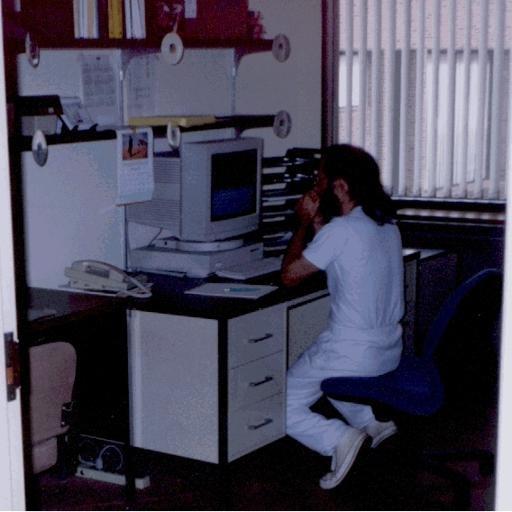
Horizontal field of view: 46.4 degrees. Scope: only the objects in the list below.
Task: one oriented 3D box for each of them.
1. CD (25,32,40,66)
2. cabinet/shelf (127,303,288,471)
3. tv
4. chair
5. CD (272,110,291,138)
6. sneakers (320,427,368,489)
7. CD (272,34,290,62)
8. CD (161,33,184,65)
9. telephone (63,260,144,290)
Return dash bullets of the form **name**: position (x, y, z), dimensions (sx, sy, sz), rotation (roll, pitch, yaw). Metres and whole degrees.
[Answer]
- **CD**: position (-0.808, -0.751, 2.161), dimensions (0.046, 0.108, 0.064), rotation (-2, 7, -23)
- **cabinet/shelf**: position (-0.181, 0.478, 2.407), dimensions (0.561, 0.579, 0.574), rotation (2, 3, 16)
- **tv**: position (-0.284, -0.328, 2.802), dimensions (0.476, 0.479, 0.505), rotation (7, 14, 26)
- **chair**: position (0.516, 0.300, 2.157), dimensions (0.535, 0.576, 0.369), rotation (11, -6, 9)
- **CD**: position (0.143, -0.731, 3.289), dimensions (0.028, 0.143, 0.129), rotation (4, 7, 24)
- **sneakers**: position (0.317, 0.795, 2.376), dimensions (0.118, 0.316, 0.111), rotation (34, 35, 20)
- **CD**: position (0.126, -1.062, 3.028), dimensions (0.026, 0.126, 0.113), rotation (5, 0, 36)
- **CD**: position (-0.350, -0.869, 2.476), dimensions (0.084, 0.143, 0.130), rotation (-1, 7, -10)
- **telephone**: position (-0.608, 0.063, 2.339), dimensions (0.197, 0.080, 0.151), rotation (2, 0, 5)
